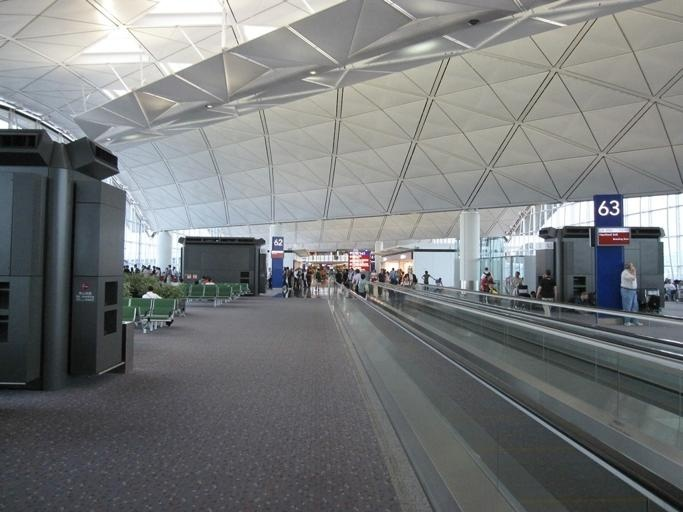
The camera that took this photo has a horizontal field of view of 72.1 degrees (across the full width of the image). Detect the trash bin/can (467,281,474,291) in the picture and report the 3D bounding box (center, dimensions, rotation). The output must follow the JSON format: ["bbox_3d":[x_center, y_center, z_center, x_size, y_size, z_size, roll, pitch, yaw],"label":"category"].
[{"bbox_3d":[8.208,1.769,29.745,0.463,0.494,0.874,-2,-1,15],"label":"trash bin/can"}]

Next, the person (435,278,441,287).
[{"bbox_3d":[7.840,2.072,38.100,0.723,0.660,0.170,12,-8,-33],"label":"person"}]

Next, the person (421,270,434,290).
[{"bbox_3d":[6.584,1.743,36.316,0.972,1.519,0.482,-3,-21,9],"label":"person"}]
